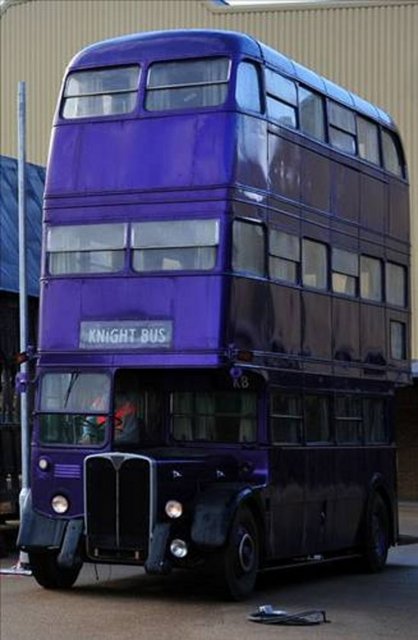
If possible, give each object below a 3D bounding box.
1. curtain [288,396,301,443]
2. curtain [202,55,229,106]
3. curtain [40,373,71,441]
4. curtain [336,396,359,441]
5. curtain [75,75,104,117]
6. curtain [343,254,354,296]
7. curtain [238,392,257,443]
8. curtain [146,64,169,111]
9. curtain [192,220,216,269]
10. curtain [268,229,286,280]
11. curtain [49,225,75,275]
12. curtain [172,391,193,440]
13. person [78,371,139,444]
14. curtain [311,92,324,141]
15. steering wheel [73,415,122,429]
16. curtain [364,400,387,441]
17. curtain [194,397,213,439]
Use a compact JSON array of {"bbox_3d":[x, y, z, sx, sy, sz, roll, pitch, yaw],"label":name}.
[{"bbox_3d":[0.926,1.077,10.485,0.049,0.568,0.435,-1,-3,17],"label":"curtain"},{"bbox_3d":[0.063,-2.335,9.371,0.256,0.577,0.209,0,-9,1],"label":"curtain"},{"bbox_3d":[-1.491,0.842,9.349,0.353,0.648,0.073,-4,-10,23],"label":"curtain"},{"bbox_3d":[1.755,1.264,12.338,0.094,0.578,0.697,2,-5,-19],"label":"curtain"},{"bbox_3d":[-1.241,-2.338,9.983,0.312,0.701,0.008,-5,-37,-5],"label":"curtain"},{"bbox_3d":[1.770,-0.575,12.256,0.024,0.552,0.423,-1,-6,29],"label":"curtain"},{"bbox_3d":[0.388,0.972,9.812,0.197,0.634,0.049,-1,-33,2],"label":"curtain"},{"bbox_3d":[-0.501,-2.338,9.616,0.238,0.568,0.242,-1,-9,5],"label":"curtain"},{"bbox_3d":[-0.078,-0.722,8.965,0.296,0.058,0.655,-5,-49,-11],"label":"curtain"},{"bbox_3d":[0.741,-0.678,10.050,0.011,0.529,0.459,-8,13,-21],"label":"curtain"},{"bbox_3d":[-1.461,-0.733,9.625,0.289,0.669,0.048,-1,-25,-9],"label":"curtain"},{"bbox_3d":[-0.269,1.041,10.250,0.203,0.600,0.048,-7,-29,8],"label":"curtain"},{"bbox_3d":[-0.959,0.835,9.498,0.557,0.995,0.591,-2,-8,34],"label":"person"},{"bbox_3d":[1.325,-2.460,11.671,0.101,0.640,0.466,-2,-10,15],"label":"curtain"},{"bbox_3d":[-1.050,0.984,9.280,0.491,0.136,0.318,5,-12,-23],"label":"steering wheel"},{"bbox_3d":[2.296,1.390,13.345,0.058,0.658,0.484,-4,-7,36],"label":"curtain"},{"bbox_3d":[-0.070,1.058,10.154,0.205,0.552,0.041,-1,-37,0],"label":"curtain"}]
